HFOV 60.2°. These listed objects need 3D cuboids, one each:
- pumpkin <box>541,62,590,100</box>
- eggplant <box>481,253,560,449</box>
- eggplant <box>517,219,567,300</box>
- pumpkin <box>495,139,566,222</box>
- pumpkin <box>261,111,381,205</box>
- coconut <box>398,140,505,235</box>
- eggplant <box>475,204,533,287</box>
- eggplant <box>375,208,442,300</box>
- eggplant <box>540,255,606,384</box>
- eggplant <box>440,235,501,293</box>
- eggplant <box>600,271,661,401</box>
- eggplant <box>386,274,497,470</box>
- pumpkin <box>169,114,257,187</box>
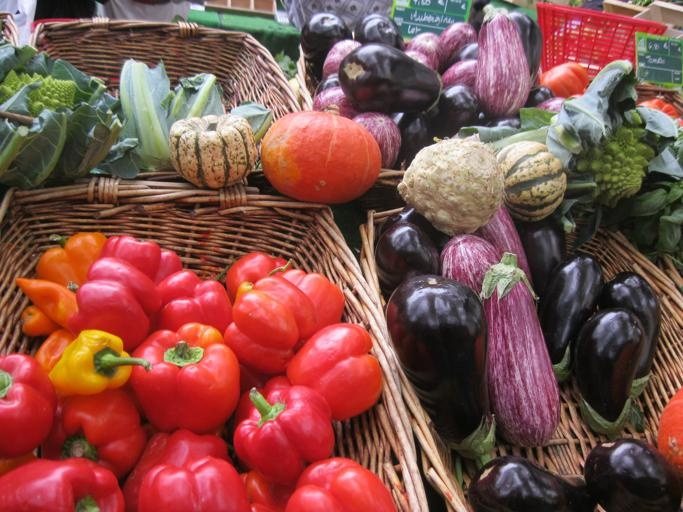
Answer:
[{"bbox_3d":[1.358,-1.059,3.561,0.288,0.235,0.313,-15,13,26],"label":"pumpkin"},{"bbox_3d":[0.666,0.369,2.274,0.261,0.796,0.253,7,-7,-39],"label":"eggplant"},{"bbox_3d":[0.884,-0.007,2.653,0.152,0.362,0.176,-8,-23,5],"label":"eggplant"},{"bbox_3d":[0.794,-0.288,2.670,0.284,0.404,0.316,2,-7,-22],"label":"pumpkin"},{"bbox_3d":[-0.093,-0.408,2.622,0.400,0.347,0.427,3,9,-25],"label":"pumpkin"},{"bbox_3d":[0.421,-0.377,2.548,0.481,0.386,0.396,-10,19,-15],"label":"coconut"},{"bbox_3d":[0.695,-0.082,2.565,0.166,0.369,0.135,-26,-23,-12],"label":"eggplant"},{"bbox_3d":[0.279,-0.056,2.485,0.298,0.348,0.255,-21,20,-33],"label":"eggplant"},{"bbox_3d":[0.936,0.228,2.508,0.190,0.536,0.231,23,-12,-20],"label":"eggplant"},{"bbox_3d":[0.505,0.013,2.342,0.207,0.220,0.184,-4,20,-9],"label":"eggplant"},{"bbox_3d":[1.213,0.337,2.467,0.216,0.504,0.251,1,16,-2],"label":"eggplant"},{"bbox_3d":[0.363,0.424,2.216,0.306,0.698,0.273,-29,10,-39],"label":"eggplant"},{"bbox_3d":[-0.526,-0.468,2.582,0.345,0.334,0.411,-6,19,-12],"label":"pumpkin"}]
